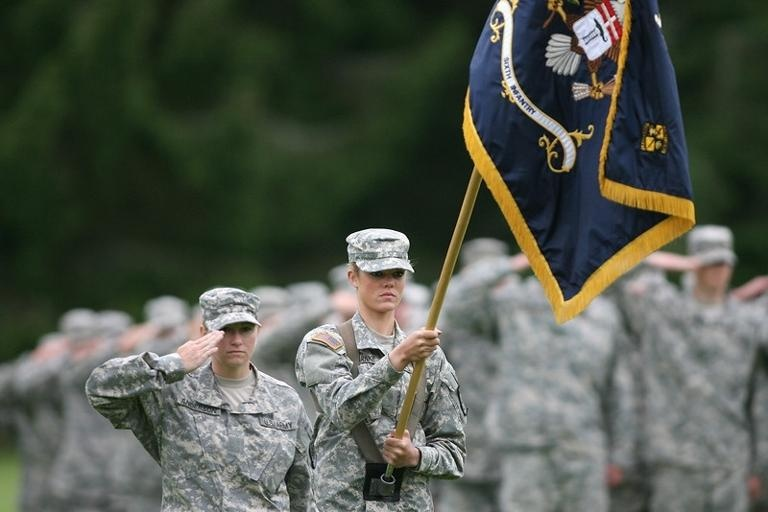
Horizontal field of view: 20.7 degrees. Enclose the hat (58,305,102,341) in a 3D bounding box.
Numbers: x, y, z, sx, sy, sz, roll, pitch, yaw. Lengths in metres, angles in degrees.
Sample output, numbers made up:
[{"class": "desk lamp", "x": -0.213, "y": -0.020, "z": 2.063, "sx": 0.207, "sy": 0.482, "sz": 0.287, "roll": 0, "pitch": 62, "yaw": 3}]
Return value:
[{"class": "hat", "x": -2.939, "y": 0.651, "z": 19.832, "sx": 0.369, "sy": 0.192, "sz": 0.275, "roll": 1, "pitch": -27, "yaw": -13}]
